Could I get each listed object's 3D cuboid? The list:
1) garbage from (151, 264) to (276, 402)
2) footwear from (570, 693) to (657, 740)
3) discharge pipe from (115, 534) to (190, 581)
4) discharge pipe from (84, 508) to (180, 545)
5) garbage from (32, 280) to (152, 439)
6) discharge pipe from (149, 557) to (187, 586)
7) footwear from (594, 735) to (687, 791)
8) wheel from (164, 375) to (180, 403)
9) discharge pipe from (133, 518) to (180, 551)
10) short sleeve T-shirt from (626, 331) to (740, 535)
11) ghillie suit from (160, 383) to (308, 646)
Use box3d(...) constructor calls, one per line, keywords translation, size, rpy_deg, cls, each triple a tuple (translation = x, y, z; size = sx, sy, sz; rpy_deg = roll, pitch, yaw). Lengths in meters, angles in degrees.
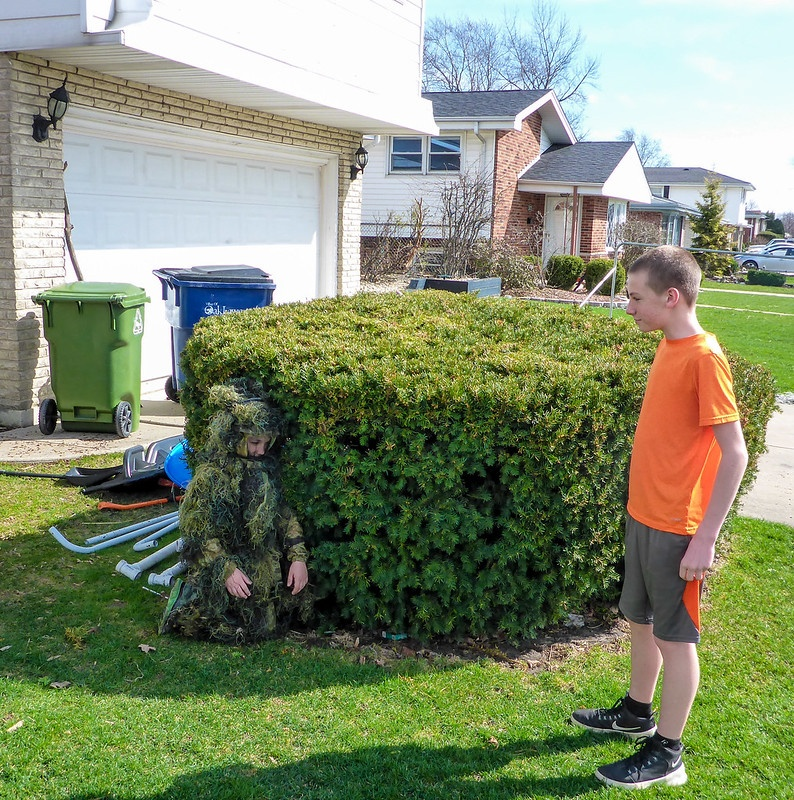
box3d(translation=(-1.611, -0.499, 9.803), size=(1.177, 1.621, 1.161), rpy_deg=(-2, 17, -14), cls="garbage")
box3d(translation=(0.939, 1.434, 5.082), size=(0.419, 0.204, 0.146), rpy_deg=(7, 9, 20), cls="footwear")
box3d(translation=(-1.385, 0.849, 6.455), size=(0.188, 0.152, 0.746), rpy_deg=(-1, 6, 23), cls="discharge pipe")
box3d(translation=(-1.656, 0.791, 6.930), size=(0.125, 0.107, 0.903), rpy_deg=(-4, 6, 43), cls="discharge pipe")
box3d(translation=(-2.349, -0.306, 8.646), size=(0.839, 1.206, 0.542), rpy_deg=(0, 5, -14), cls="garbage")
box3d(translation=(-1.266, 0.951, 6.148), size=(0.074, 0.080, 0.241), rpy_deg=(-41, -2, 21), cls="discharge pipe")
box3d(translation=(1.019, 1.497, 4.677), size=(0.437, 0.226, 0.166), rpy_deg=(0, 5, -6), cls="footwear")
box3d(translation=(-2.024, -0.094, 10.077), size=(0.084, 0.242, 0.214), rpy_deg=(-7, 48, -22), cls="wheel")
box3d(translation=(-1.450, 0.830, 6.767), size=(0.111, 0.046, 0.391), rpy_deg=(0, 12, 10), cls="discharge pipe")
box3d(translation=(1.190, 0.141, 4.650), size=(0.222, 0.830, 0.492), rpy_deg=(-2, 6, -34), cls="short sleeve T-shirt")
box3d(translation=(-0.807, 0.579, 5.647), size=(0.755, 1.288, 0.321), rpy_deg=(0, 5, -14), cls="ghillie suit")
